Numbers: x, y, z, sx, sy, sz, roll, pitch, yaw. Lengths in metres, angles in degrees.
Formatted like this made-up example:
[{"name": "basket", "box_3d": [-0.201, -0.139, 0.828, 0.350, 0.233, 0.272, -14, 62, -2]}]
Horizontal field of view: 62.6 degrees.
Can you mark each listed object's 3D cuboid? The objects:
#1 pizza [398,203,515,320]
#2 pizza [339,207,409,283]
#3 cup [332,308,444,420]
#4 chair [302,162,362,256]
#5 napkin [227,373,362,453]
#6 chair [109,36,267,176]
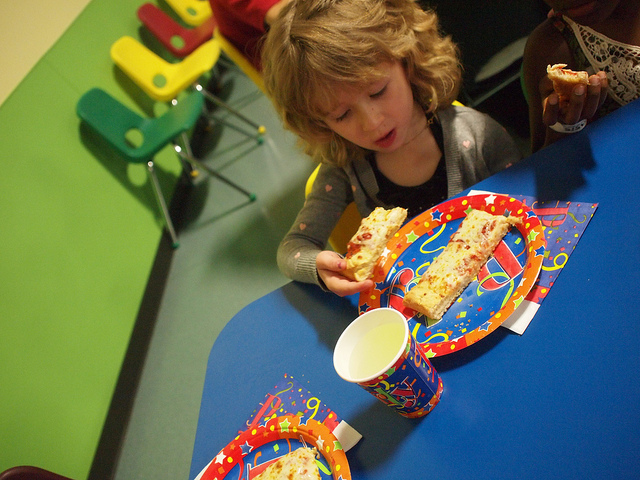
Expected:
[{"name": "pizza", "box_3d": [0.331, 0.041, 1.266, 0.180, 0.066, 0.329, 27, 78, 46]}, {"name": "pizza", "box_3d": [0.159, 0.018, 1.409, 0.124, 0.057, 0.229, 25, 83, 51]}, {"name": "cup", "box_3d": [0.150, 0.280, 1.140, 0.138, 0.148, 0.138, -29, 37, 26]}, {"name": "chair", "box_3d": [0.043, -0.094, 1.699, 0.184, 0.245, 0.218, 24, 98, 43]}, {"name": "napkin", "box_3d": [-0.048, 0.405, 1.207, 0.257, 0.211, 0.083, 12, 114, 38]}, {"name": "chair", "box_3d": [-0.724, -0.853, 3.037, 0.573, 0.822, 0.596, -8, 34, 23]}]
